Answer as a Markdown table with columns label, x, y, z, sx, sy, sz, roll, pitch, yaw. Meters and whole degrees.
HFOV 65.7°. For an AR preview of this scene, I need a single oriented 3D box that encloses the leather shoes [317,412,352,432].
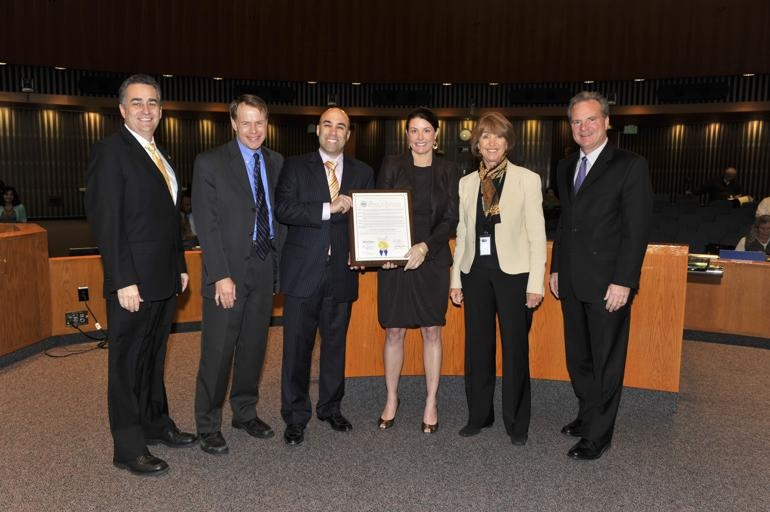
| label | x | y | z | sx | sy | sz | roll | pitch | yaw |
| --- | --- | --- | --- | --- | --- | --- | --- | --- | --- |
| leather shoes | -0.431 | 1.393 | 5.133 | 0.304 | 0.145 | 0.126 | 14 | 12 | 25 |

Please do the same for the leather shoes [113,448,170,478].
| label | x | y | z | sx | sy | sz | roll | pitch | yaw |
| --- | --- | --- | --- | --- | --- | --- | --- | --- | --- |
| leather shoes | -1.869 | 1.564 | 4.610 | 0.381 | 0.193 | 0.187 | 1 | 5 | 5 |

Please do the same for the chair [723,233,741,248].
| label | x | y | z | sx | sy | sz | roll | pitch | yaw |
| --- | --- | --- | --- | --- | --- | --- | --- | --- | --- |
| chair | 5.345 | -0.259 | 9.163 | 0.223 | 0.274 | 0.187 | -6 | 7 | -35 |

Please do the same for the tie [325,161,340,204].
| label | x | y | z | sx | sy | sz | roll | pitch | yaw |
| --- | --- | --- | --- | --- | --- | --- | --- | --- | --- |
| tie | -0.426 | -0.634 | 4.875 | 0.118 | 0.307 | 0.109 | -2 | 13 | -5 |

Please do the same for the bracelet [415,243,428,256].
| label | x | y | z | sx | sy | sz | roll | pitch | yaw |
| --- | --- | --- | --- | --- | --- | --- | --- | --- | --- |
| bracelet | 0.302 | -0.073 | 4.837 | 0.072 | 0.102 | 0.094 | -4 | 46 | 1 |

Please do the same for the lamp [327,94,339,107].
| label | x | y | z | sx | sy | sz | roll | pitch | yaw |
| --- | --- | --- | --- | --- | --- | --- | --- | --- | --- |
| lamp | -1.254 | -3.788 | 14.232 | 0.267 | 0.268 | 0.491 | -2 | 14 | -1 |

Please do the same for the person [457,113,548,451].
| label | x | y | z | sx | sy | sz | roll | pitch | yaw |
| --- | --- | --- | --- | --- | --- | --- | --- | --- | --- |
| person | 0.928 | 0.167 | 4.927 | 0.766 | 2.643 | 0.656 | 0 | 13 | 7 |

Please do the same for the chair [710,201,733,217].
| label | x | y | z | sx | sy | sz | roll | pitch | yaw |
| --- | --- | --- | --- | --- | --- | --- | --- | --- | --- |
| chair | 6.361 | -0.917 | 11.253 | 0.299 | 0.434 | 0.336 | 1 | 7 | 29 |

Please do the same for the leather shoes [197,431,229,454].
| label | x | y | z | sx | sy | sz | roll | pitch | yaw |
| --- | --- | --- | --- | --- | --- | --- | --- | --- | --- |
| leather shoes | -1.391 | 1.490 | 4.821 | 0.281 | 0.132 | 0.115 | 2 | 2 | 45 |

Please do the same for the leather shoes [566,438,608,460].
| label | x | y | z | sx | sy | sz | roll | pitch | yaw |
| --- | --- | --- | --- | --- | --- | --- | --- | --- | --- |
| leather shoes | 1.615 | 1.538 | 4.769 | 0.300 | 0.149 | 0.140 | -1 | 10 | -10 |

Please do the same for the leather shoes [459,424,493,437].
| label | x | y | z | sx | sy | sz | roll | pitch | yaw |
| --- | --- | --- | --- | --- | --- | --- | --- | --- | --- |
| leather shoes | 0.771 | 1.457 | 5.075 | 0.278 | 0.126 | 0.104 | -3 | -5 | -21 |

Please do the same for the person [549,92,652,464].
| label | x | y | z | sx | sy | sz | roll | pitch | yaw |
| --- | --- | --- | --- | --- | --- | --- | --- | --- | --- |
| person | 1.705 | 0.142 | 4.752 | 0.698 | 2.812 | 0.691 | 4 | 14 | 22 |

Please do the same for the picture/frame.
| label | x | y | z | sx | sy | sz | roll | pitch | yaw |
| --- | --- | --- | --- | --- | --- | --- | --- | --- | --- |
| picture/frame | -0.033 | -0.231 | 4.802 | 0.568 | 0.736 | 0.053 | 0 | -3 | -9 |

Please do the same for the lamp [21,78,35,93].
| label | x | y | z | sx | sy | sz | roll | pitch | yaw |
| --- | --- | --- | --- | --- | --- | --- | --- | --- | --- |
| lamp | -7.196 | -3.470 | 11.951 | 0.276 | 0.281 | 0.240 | -5 | 14 | -14 |

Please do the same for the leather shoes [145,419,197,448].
| label | x | y | z | sx | sy | sz | roll | pitch | yaw |
| --- | --- | --- | --- | --- | --- | --- | --- | --- | --- |
| leather shoes | -1.729 | 1.430 | 4.851 | 0.346 | 0.171 | 0.180 | -1 | 6 | -3 |

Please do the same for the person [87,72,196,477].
| label | x | y | z | sx | sy | sz | roll | pitch | yaw |
| --- | --- | --- | --- | --- | --- | --- | --- | --- | --- |
| person | -1.861 | 0.119 | 4.572 | 0.776 | 2.938 | 0.644 | -12 | 16 | -40 |

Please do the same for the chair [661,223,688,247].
| label | x | y | z | sx | sy | sz | roll | pitch | yaw |
| --- | --- | --- | --- | --- | --- | --- | --- | --- | --- |
| chair | 4.323 | -0.333 | 8.920 | 0.299 | 0.419 | 0.320 | 1 | 5 | 7 |
